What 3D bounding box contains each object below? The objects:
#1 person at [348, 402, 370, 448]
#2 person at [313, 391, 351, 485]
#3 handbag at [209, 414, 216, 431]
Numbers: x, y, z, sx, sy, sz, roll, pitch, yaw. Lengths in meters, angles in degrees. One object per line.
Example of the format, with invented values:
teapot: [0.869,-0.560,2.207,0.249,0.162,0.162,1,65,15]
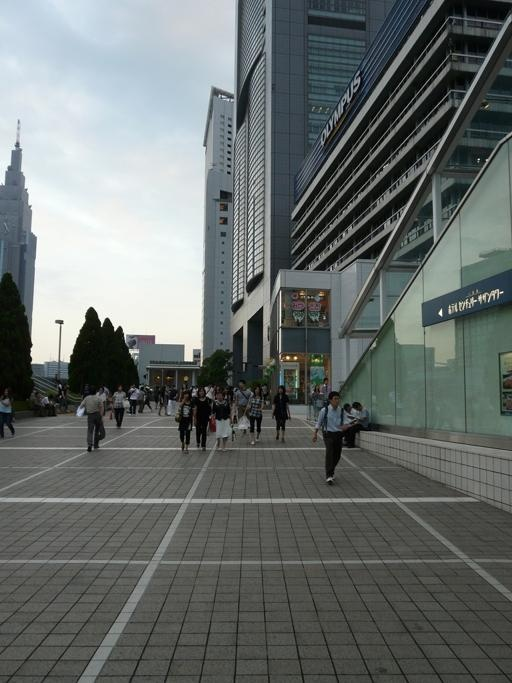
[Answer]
person: [2.693,2.215,13.542,0.534,1.194,1.033,-1,-5,12]
person: [1.382,1.695,9.285,0.624,1.564,1.074,-1,-5,7]
handbag: [-1.133,2.167,13.613,0.198,0.650,0.550,-1,-3,-7]
